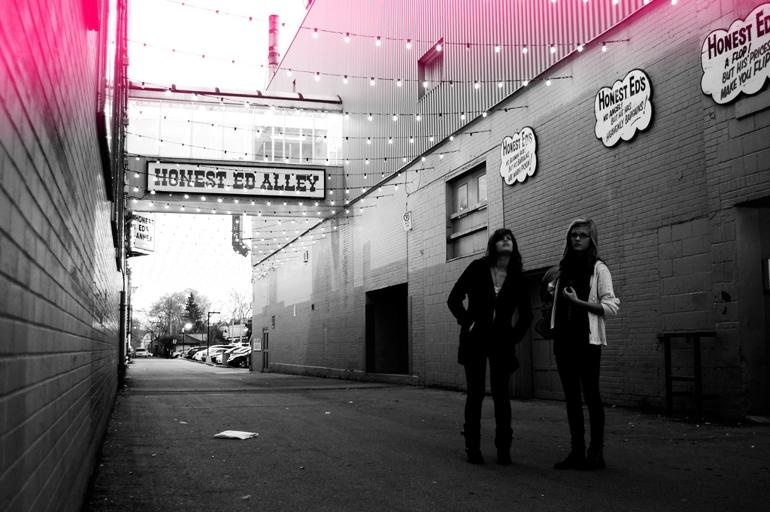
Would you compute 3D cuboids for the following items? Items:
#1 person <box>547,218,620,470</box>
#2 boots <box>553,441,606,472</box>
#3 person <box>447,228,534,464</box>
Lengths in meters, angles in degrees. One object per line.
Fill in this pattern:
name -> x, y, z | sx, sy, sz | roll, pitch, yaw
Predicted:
person -> 1.955, 0.853, 6.481 | 0.670, 2.427, 0.485 | 0, -10, 9
boots -> 1.953, 1.987, 6.567 | 0.586, 0.433, 0.209 | 3, -9, 3
person -> 1.097, 0.906, 6.720 | 0.818, 2.362, 0.479 | -1, -10, 13
